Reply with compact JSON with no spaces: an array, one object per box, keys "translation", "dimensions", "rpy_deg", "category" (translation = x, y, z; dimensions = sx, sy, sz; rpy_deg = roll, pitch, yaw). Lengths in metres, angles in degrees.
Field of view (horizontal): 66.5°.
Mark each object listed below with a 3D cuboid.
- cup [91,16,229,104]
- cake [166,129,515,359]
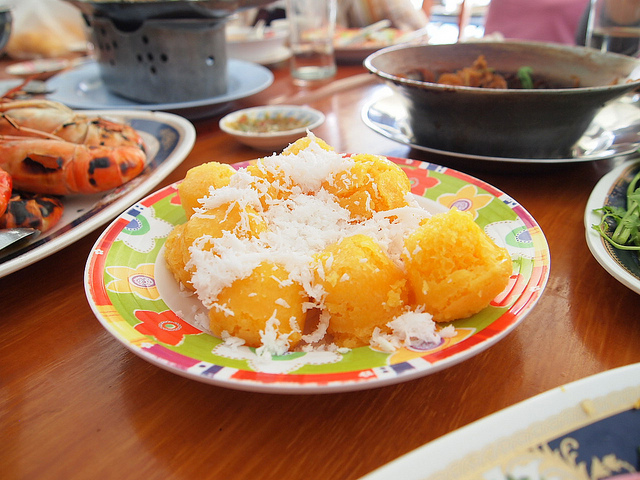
[{"translation":[-0.381,-0.450,1.251],"dimensions":[0.289,0.153,0.209],"rpy_deg":[16,40,27],"category":"cup"},{"translation":[0.003,0.011,0.645],"dimensions":[0.356,0.156,0.377],"rpy_deg":[-22,41,-24],"category":"cake"}]
